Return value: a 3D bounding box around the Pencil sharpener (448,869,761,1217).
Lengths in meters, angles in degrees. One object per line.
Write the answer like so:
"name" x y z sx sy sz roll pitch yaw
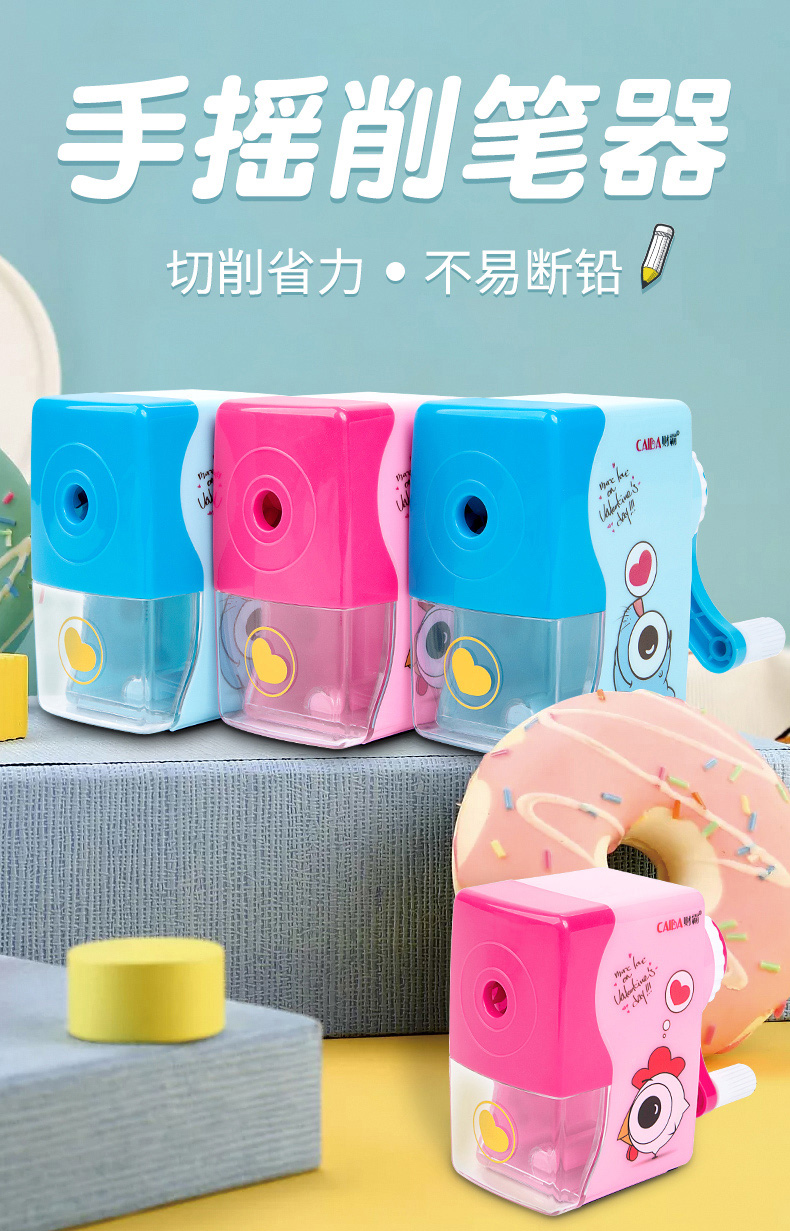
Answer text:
"Pencil sharpener" 0.121 0.222 0.628 0.168 0.155 0.092 -1 0 -35
